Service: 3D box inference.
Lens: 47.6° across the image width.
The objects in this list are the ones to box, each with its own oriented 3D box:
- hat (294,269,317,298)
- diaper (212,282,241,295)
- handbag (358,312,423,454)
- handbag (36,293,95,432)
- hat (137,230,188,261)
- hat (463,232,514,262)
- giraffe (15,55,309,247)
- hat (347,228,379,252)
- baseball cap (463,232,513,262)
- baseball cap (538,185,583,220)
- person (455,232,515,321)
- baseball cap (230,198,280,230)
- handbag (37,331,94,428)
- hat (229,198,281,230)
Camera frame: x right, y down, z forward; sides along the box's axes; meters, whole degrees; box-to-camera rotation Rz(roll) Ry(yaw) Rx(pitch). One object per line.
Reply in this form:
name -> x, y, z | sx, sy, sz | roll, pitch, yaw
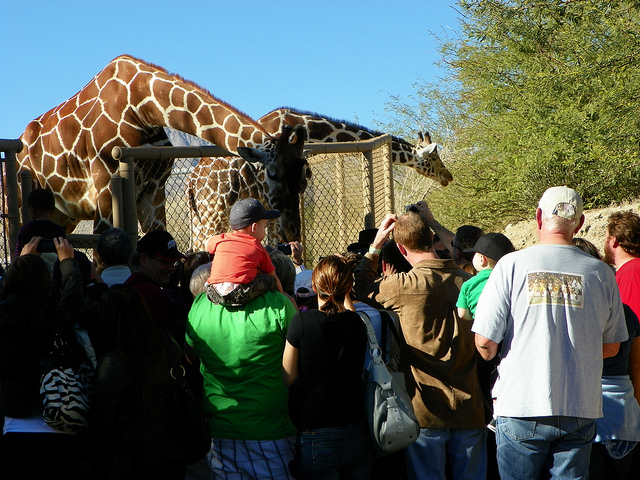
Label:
hat -> -0.134, 0.341, 5.769 | 0.134, 0.212, 0.070 | -6, -48, 10
diaper -> -0.634, 0.328, 4.914 | 0.179, 0.083, 0.039 | -6, -6, 21
handbag -> 0.462, 0.948, 4.885 | 0.344, 0.936, 0.193 | -4, -5, 3
handbag -> -1.709, 0.828, 4.873 | 0.363, 0.898, 0.245 | -1, -6, -24
hat -> -1.281, 0.038, 5.833 | 0.376, 0.224, 0.278 | 7, 3, 12
hat -> 1.299, 0.064, 5.554 | 0.249, 0.160, 0.181 | 1, 1, 36
giraffe -> -2.434, -0.771, 10.139 | 4.409, 3.389, 1.251 | -2, 9, 15
hat -> 0.419, 0.004, 7.185 | 0.281, 0.258, 0.661 | -5, -5, 7
baseball cap -> 1.304, 0.042, 5.544 | 0.248, 0.143, 0.183 | 11, 10, 35
baseball cap -> 1.722, -0.296, 5.124 | 0.318, 0.202, 0.484 | 10, 13, 11
person -> 1.197, 0.279, 5.273 | 0.247, 0.737, 0.238 | 35, -13, -33
baseball cap -> -0.505, -0.221, 5.361 | 0.395, 0.221, 0.248 | -20, 11, -40
handbag -> -1.712, 0.946, 4.840 | 0.316, 0.692, 0.607 | 0, 0, -16
hat -> -0.504, -0.223, 5.365 | 0.413, 0.237, 0.257 | -19, 8, -34
